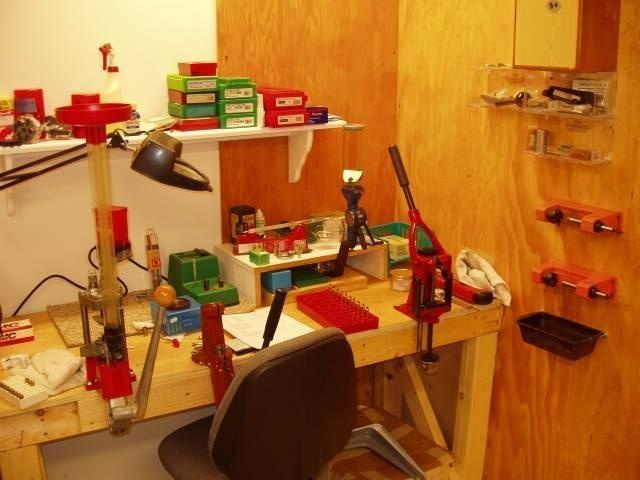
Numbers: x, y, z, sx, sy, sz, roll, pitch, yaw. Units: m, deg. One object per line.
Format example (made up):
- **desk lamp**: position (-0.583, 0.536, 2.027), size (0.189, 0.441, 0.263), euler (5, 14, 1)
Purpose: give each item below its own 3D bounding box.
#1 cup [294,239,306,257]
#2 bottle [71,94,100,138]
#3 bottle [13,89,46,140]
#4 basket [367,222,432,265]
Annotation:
- **cup**: position (-0.097, 0.032, 2.624), size (0.052, 0.070, 0.089), euler (-2, 17, 8)
- **bottle**: position (-0.943, -0.512, 2.238), size (0.129, 0.171, 0.363), euler (-11, 18, -19)
- **bottle**: position (-1.154, -0.534, 2.190), size (0.121, 0.138, 0.158), euler (-12, 19, -21)
- **basket**: position (0.420, 0.020, 2.983), size (0.260, 0.205, 0.224), euler (-13, 19, -25)
